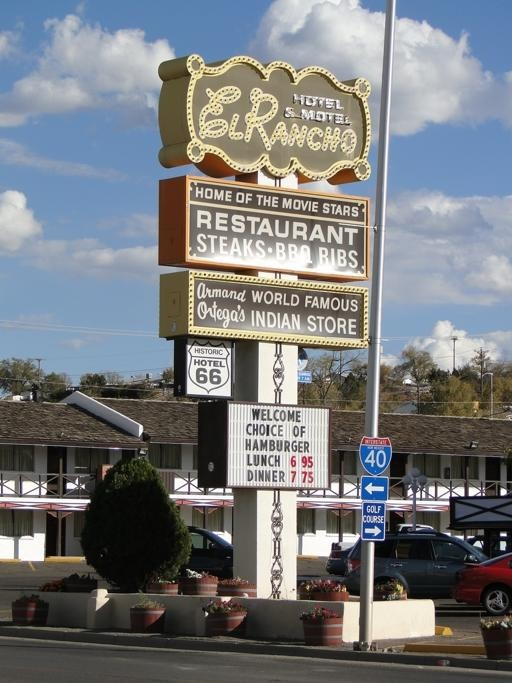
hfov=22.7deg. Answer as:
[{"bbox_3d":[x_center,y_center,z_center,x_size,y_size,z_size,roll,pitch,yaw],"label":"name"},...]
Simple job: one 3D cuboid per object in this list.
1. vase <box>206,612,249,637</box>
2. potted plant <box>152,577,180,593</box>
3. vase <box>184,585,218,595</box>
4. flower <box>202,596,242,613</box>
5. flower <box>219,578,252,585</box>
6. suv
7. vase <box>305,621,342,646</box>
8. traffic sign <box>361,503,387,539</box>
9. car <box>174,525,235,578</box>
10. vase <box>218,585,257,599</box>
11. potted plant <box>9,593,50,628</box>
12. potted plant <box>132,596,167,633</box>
[{"bbox_3d":[-0.528,4.417,19.918,0.425,0.270,0.433,-9,-15,36],"label":"vase"},{"bbox_3d":[-1.517,4.228,21.952,0.275,0.165,0.279,-2,-4,37],"label":"potted plant"},{"bbox_3d":[-0.976,4.291,21.854,0.328,0.110,0.284,-3,-11,21],"label":"vase"},{"bbox_3d":[-0.497,4.200,20.062,0.646,0.254,0.447,6,-8,-40],"label":"flower"},{"bbox_3d":[-0.359,4.043,21.277,0.513,0.092,0.265,4,-6,-21],"label":"flower"},{"bbox_3d":[3.482,4.878,27.122,3.148,1.339,1.438,-2,-3,-7],"label":"suv"},{"bbox_3d":[0.991,4.350,18.914,0.413,0.260,0.420,-10,-13,44],"label":"vase"},{"bbox_3d":[1.736,2.671,18.713,0.342,0.586,0.441,1,-6,4],"label":"traffic sign"},{"bbox_3d":[-1.085,4.993,29.809,1.898,1.010,1.072,-2,-7,8],"label":"car"},{"bbox_3d":[-0.296,4.179,21.219,0.663,0.185,0.338,3,-6,-12],"label":"vase"},{"bbox_3d":[-3.974,4.747,22.361,0.534,0.531,0.537,6,-10,-35],"label":"potted plant"},{"bbox_3d":[-1.759,4.493,20.816,0.491,0.379,0.510,-2,-6,33],"label":"potted plant"}]
